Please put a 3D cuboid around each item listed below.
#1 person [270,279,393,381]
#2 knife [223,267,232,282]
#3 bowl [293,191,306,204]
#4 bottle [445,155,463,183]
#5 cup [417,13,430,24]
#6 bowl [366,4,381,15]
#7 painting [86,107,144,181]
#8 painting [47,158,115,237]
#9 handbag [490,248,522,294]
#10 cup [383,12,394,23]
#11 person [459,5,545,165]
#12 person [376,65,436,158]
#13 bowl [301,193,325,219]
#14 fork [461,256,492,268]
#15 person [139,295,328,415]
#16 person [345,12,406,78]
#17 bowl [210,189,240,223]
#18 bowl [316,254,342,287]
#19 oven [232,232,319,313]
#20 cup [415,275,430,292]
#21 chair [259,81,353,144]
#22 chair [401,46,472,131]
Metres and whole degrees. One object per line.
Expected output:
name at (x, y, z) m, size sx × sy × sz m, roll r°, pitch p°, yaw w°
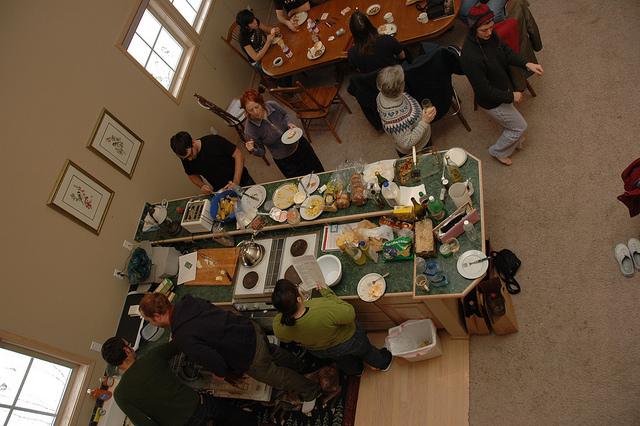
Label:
person at (0.088, 1.341, 5.276) m, size 0.873 × 2.173 × 0.745 m, roll -20°, pitch 50°, yaw 18°
knife at (-1.152, 0.764, 5.553) m, size 0.037 × 0.024 × 0.236 m, roll -39°, pitch 60°, yaw 13°
bowl at (-0.256, -0.184, 5.568) m, size 0.136 × 0.058 × 0.144 m, roll -10°, pitch 62°, yaw 21°
bottle at (1.497, -0.460, 4.961) m, size 0.108 × 0.241 × 0.179 m, roll -14°, pitch 35°, yaw 34°
cup at (1.423, -2.631, 6.124) m, size 0.139 × 0.103 × 0.116 m, roll 22°, pitch 80°, yaw 41°
bowl at (0.781, -2.919, 6.496) m, size 0.211 × 0.106 × 0.172 m, roll -17°, pitch 34°, yaw 31°
painting at (-2.908, -0.949, 6.249) m, size 0.082 × 0.815 × 0.713 m, roll -5°, pitch 56°, yaw 34°
painting at (-3.180, -0.188, 5.856) m, size 0.079 × 0.799 × 0.701 m, roll -6°, pitch 56°, yaw 39°
handbag at (2.204, 0.677, 5.282) m, size 0.286 × 0.173 × 0.481 m, roll -31°, pitch 79°, yaw 7°
cup at (0.983, -2.725, 6.326) m, size 0.127 × 0.098 × 0.112 m, roll 11°, pitch 68°, yaw 38°
person at (2.296, -1.532, 5.573) m, size 0.935 × 2.108 × 0.853 m, roll 1°, pitch 59°, yaw 37°
person at (1.080, -1.259, 5.432) m, size 0.397 × 1.167 × 0.505 m, roll -34°, pitch 73°, yaw 11°
bowl at (-0.098, -0.074, 5.432) m, size 0.258 × 0.060 × 0.273 m, roll -18°, pitch 56°, yaw 28°
fork at (1.604, 0.500, 4.620) m, size 0.312 × 0.025 × 0.048 m, roll -21°, pitch 74°, yaw 17°
person at (-0.892, 1.642, 5.382) m, size 0.835 × 2.577 × 0.933 m, roll -35°, pitch 30°, yaw 26°
person at (0.630, -2.109, 5.666) m, size 0.649 × 0.863 × 0.358 m, roll -26°, pitch 30°, yaw 17°
bowl at (-1.191, -0.095, 5.831) m, size 0.387 × 0.152 × 0.393 m, roll -8°, pitch 63°, yaw 16°
bowl at (0.128, 0.659, 5.112) m, size 0.296 × 0.144 × 0.322 m, roll -9°, pitch 68°, yaw 24°
oven at (-0.765, 0.647, 5.756) m, size 0.733 × 1.166 × 0.875 m, roll 8°, pitch 97°, yaw 50°
cup at (1.074, 0.725, 4.719) m, size 0.097 × 0.138 × 0.165 m, roll -23°, pitch 58°, yaw 11°
chair at (-0.158, -1.448, 6.624) m, size 0.744 × 1.471 × 0.914 m, roll 7°, pitch 78°, yaw 22°
chair at (1.462, -1.533, 5.624) m, size 0.760 × 1.031 × 0.699 m, roll -26°, pitch 53°, yaw 19°
